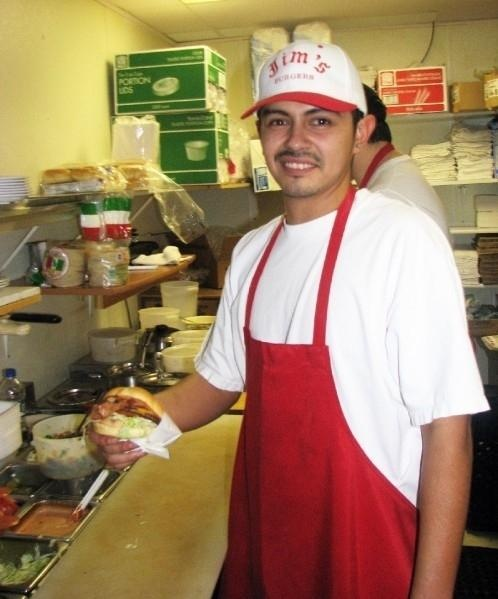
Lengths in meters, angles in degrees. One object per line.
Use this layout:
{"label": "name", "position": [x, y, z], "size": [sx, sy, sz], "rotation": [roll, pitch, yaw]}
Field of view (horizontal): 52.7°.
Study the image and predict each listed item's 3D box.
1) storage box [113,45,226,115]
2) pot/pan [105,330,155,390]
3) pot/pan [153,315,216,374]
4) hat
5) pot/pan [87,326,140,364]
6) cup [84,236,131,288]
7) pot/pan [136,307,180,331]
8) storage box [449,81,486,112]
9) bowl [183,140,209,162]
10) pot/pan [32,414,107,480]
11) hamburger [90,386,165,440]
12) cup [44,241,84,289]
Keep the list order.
{"label": "storage box", "position": [-0.408, -1.334, 3.176], "size": [0.813, 0.302, 0.794], "rotation": [-7, 13, -28]}
{"label": "pot/pan", "position": [-0.522, 0.320, 2.575], "size": [0.184, 0.268, 0.295], "rotation": [3, 3, 10]}
{"label": "pot/pan", "position": [-0.315, 0.211, 2.670], "size": [0.264, 0.086, 0.441], "rotation": [-1, 13, 13]}
{"label": "hat", "position": [0.115, -0.447, 1.004], "size": [0.237, 0.122, 0.277], "rotation": [11, 27, 34]}
{"label": "pot/pan", "position": [-0.728, 0.232, 2.699], "size": [0.247, 0.115, 0.242], "rotation": [6, 14, 12]}
{"label": "cup", "position": [-0.588, -0.140, 2.112], "size": [0.171, 0.163, 0.160], "rotation": [5, 20, -2]}
{"label": "pot/pan", "position": [-0.546, 0.111, 3.018], "size": [0.171, 0.116, 0.172], "rotation": [3, 3, 8]}
{"label": "storage box", "position": [1.577, -1.465, 3.704], "size": [0.255, 0.230, 0.252], "rotation": [1, 6, 15]}
{"label": "bowl", "position": [-0.321, -0.909, 3.089], "size": [0.123, 0.068, 0.112], "rotation": [0, 33, 0]}
{"label": "pot/pan", "position": [-0.556, 0.499, 1.654], "size": [0.227, 0.139, 0.204], "rotation": [-6, -6, -22]}
{"label": "hamburger", "position": [-0.226, 0.245, 0.994], "size": [0.141, 0.057, 0.114], "rotation": [11, -17, -5]}
{"label": "cup", "position": [-0.764, -0.134, 2.075], "size": [0.155, 0.152, 0.167], "rotation": [5, 5, 0]}
